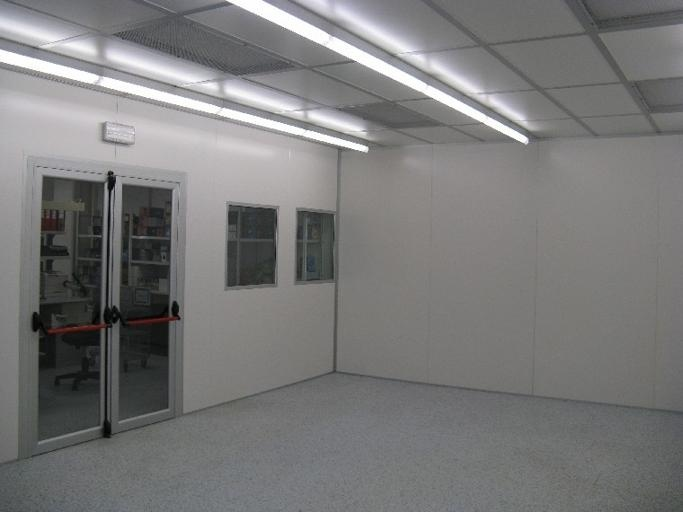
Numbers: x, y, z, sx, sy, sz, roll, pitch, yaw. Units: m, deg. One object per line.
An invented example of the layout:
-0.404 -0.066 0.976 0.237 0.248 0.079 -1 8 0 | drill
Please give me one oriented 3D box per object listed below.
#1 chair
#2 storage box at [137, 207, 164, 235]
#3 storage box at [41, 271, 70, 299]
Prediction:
-2.435 0.783 5.248 0.648 0.447 0.955 3 5 38 | chair
-2.085 -0.380 5.633 0.097 0.258 0.289 -2 -3 29 | storage box
-2.726 0.270 4.981 0.191 0.274 0.267 0 -2 34 | storage box
